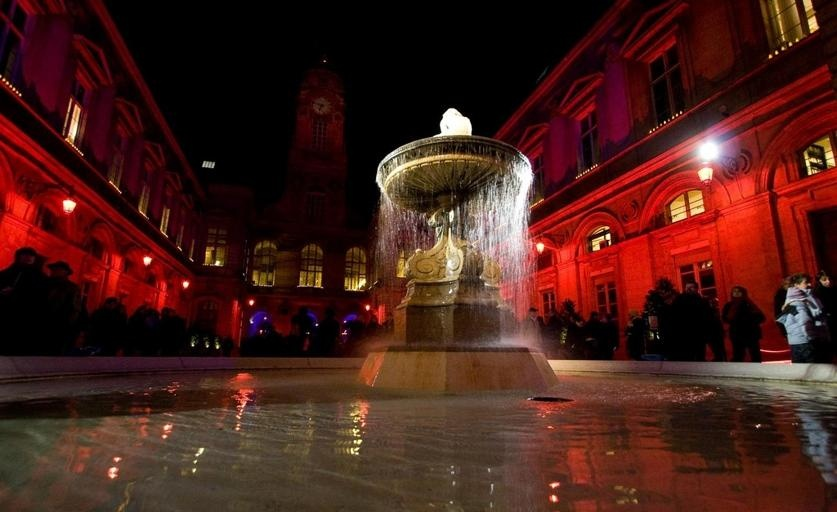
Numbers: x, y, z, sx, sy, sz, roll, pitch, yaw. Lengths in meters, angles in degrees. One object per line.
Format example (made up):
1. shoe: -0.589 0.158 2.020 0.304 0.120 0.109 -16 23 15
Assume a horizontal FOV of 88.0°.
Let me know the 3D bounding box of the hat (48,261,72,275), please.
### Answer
1. hat: -6.761 0.241 8.281 0.374 0.266 0.266 -2 -3 43

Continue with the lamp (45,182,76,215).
1. lamp: -11.422 -1.860 14.164 0.633 0.933 1.486 1 -2 -26

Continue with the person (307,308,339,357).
1. person: -2.802 2.271 12.978 0.874 1.481 1.943 0 -2 -13
